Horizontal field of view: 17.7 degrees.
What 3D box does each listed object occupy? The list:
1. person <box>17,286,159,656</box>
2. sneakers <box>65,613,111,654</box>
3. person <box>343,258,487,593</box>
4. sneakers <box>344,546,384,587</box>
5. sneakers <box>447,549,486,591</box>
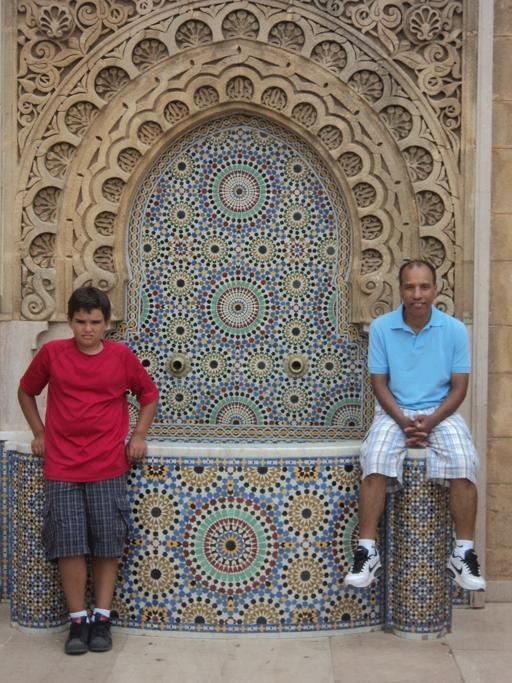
[{"bbox_3d":[-0.729,0.676,7.406,0.629,1.398,0.352,-2,-4,-8],"label":"person"},{"bbox_3d":[-0.742,1.281,7.266,0.211,0.175,0.164,-1,-4,-16],"label":"sneakers"},{"bbox_3d":[0.692,0.369,7.454,0.594,1.480,0.405,-3,-4,6],"label":"person"},{"bbox_3d":[0.475,0.988,7.291,0.099,0.115,0.242,6,14,19],"label":"sneakers"},{"bbox_3d":[0.938,1.010,7.314,0.112,0.178,0.211,-1,-4,-12],"label":"sneakers"}]
